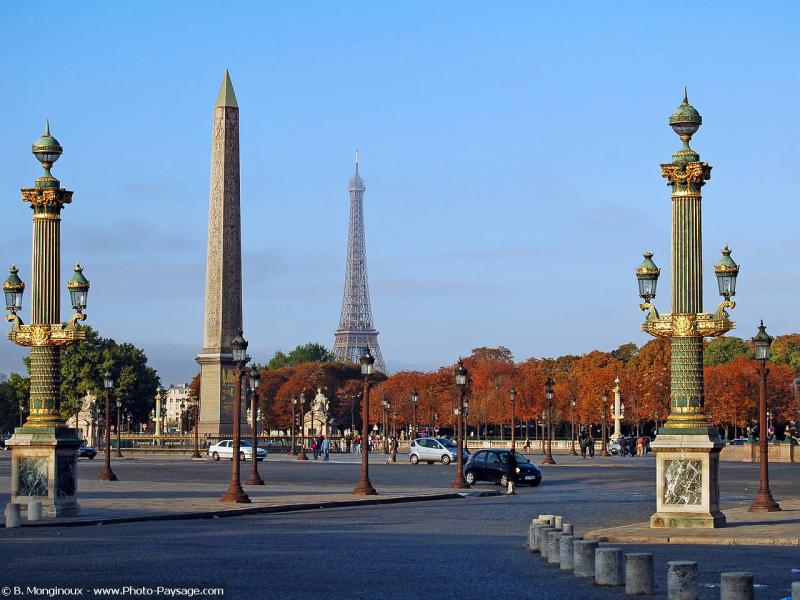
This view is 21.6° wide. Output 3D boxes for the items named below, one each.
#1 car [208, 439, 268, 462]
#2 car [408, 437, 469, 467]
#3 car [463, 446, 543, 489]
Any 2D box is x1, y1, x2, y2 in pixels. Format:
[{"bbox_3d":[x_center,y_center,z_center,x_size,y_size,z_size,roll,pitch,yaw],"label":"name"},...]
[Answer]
[{"bbox_3d":[-7.411,7.048,93.415,3.078,0.993,1.406,-5,-4,35],"label":"car"},{"bbox_3d":[1.580,6.306,87.757,2.562,1.111,1.495,-6,-7,34],"label":"car"},{"bbox_3d":[3.540,5.520,67.795,1.206,0.972,2.176,3,-8,-43],"label":"car"}]
